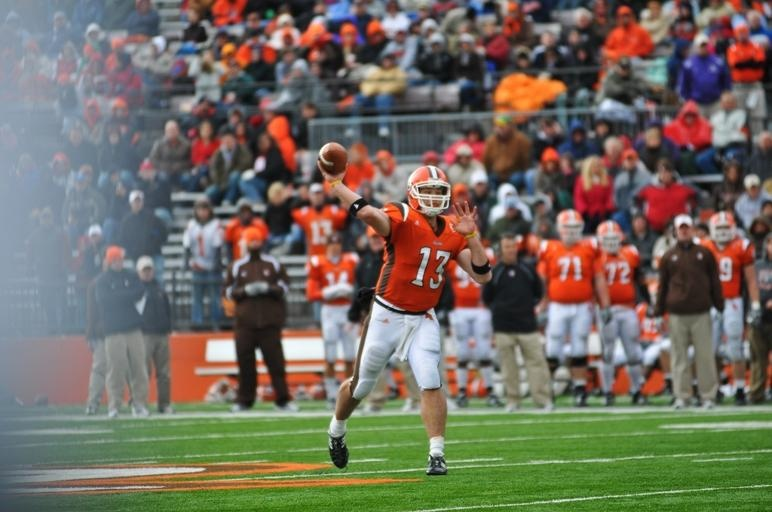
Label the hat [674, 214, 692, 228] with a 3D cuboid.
[{"bbox_3d":[4.214,-0.477,21.802,0.222,0.186,0.258,0,0,3],"label":"hat"}]

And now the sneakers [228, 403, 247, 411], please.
[{"bbox_3d":[-2.156,2.244,22.809,0.324,0.139,0.246,0,0,6],"label":"sneakers"}]

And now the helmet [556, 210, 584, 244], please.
[{"bbox_3d":[2.732,-0.435,22.580,0.352,0.459,0.484,-2,5,-7],"label":"helmet"}]

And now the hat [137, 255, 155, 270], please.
[{"bbox_3d":[-3.512,0.099,22.354,0.245,0.233,0.215,-19,-15,34],"label":"hat"}]

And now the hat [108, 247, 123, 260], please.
[{"bbox_3d":[-3.863,-0.029,21.889,0.203,0.205,0.169,-21,-3,6],"label":"hat"}]

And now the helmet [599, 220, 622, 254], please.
[{"bbox_3d":[3.284,-0.252,22.725,0.312,0.425,0.446,-2,-1,-1],"label":"helmet"}]

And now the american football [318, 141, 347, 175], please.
[{"bbox_3d":[-0.621,-1.145,18.270,0.310,0.359,0.376,-8,-20,-2],"label":"american football"}]

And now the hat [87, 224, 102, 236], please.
[{"bbox_3d":[-4.556,-0.404,24.115,0.245,0.174,0.354,0,0,-11],"label":"hat"}]

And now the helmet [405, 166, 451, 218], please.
[{"bbox_3d":[0.487,-0.769,18.504,0.432,0.528,0.600,3,2,-14],"label":"helmet"}]

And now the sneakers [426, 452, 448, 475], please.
[{"bbox_3d":[0.615,2.477,18.259,0.252,0.259,0.340,0,0,1],"label":"sneakers"}]

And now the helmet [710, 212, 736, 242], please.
[{"bbox_3d":[4.921,-0.387,22.373,0.301,0.426,0.448,-3,-6,13],"label":"helmet"}]

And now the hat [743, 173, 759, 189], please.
[{"bbox_3d":[5.767,-1.172,24.206,0.272,0.239,0.307,0,0,10],"label":"hat"}]
